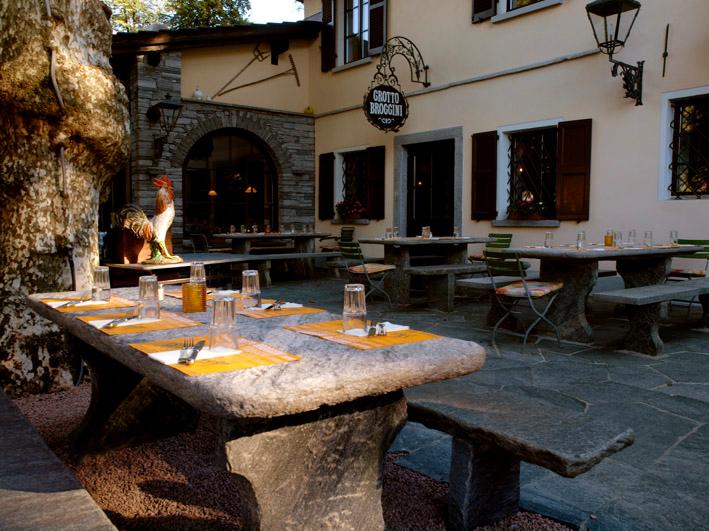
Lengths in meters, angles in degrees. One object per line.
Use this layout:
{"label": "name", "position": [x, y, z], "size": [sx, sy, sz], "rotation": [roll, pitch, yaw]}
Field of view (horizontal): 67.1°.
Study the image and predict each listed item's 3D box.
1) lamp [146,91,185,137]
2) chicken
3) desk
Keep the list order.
{"label": "lamp", "position": [-3.815, -2.999, 10.862], "size": [0.739, 0.701, 1.019], "rotation": [-3, 10, -24]}
{"label": "chicken", "position": [-2.525, -0.518, 6.539], "size": [0.701, 1.123, 1.614], "rotation": [-4, 10, -25]}
{"label": "desk", "position": [-2.574, -0.008, 7.498], "size": [2.143, 0.582, 1.354], "rotation": [2, 6, -39]}
